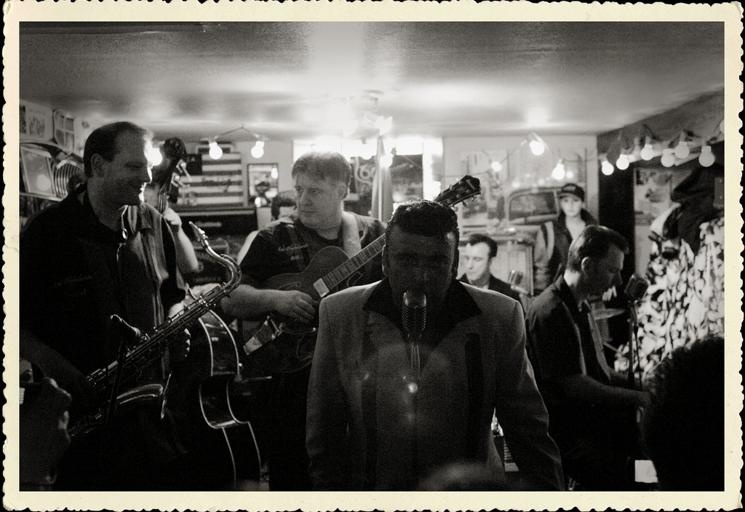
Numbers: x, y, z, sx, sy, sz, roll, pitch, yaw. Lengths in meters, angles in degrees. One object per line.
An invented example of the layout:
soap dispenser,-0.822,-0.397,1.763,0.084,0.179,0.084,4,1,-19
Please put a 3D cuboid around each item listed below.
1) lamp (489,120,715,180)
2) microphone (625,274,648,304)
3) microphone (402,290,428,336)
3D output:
lamp,1.357,-0.600,3.939,1.083,0.428,0.267,-2,-5,16
microphone,1.470,0.184,3.895,0.120,0.159,0.111,17,-4,-1
microphone,0.230,0.310,3.792,0.131,0.254,0.030,-1,6,1
